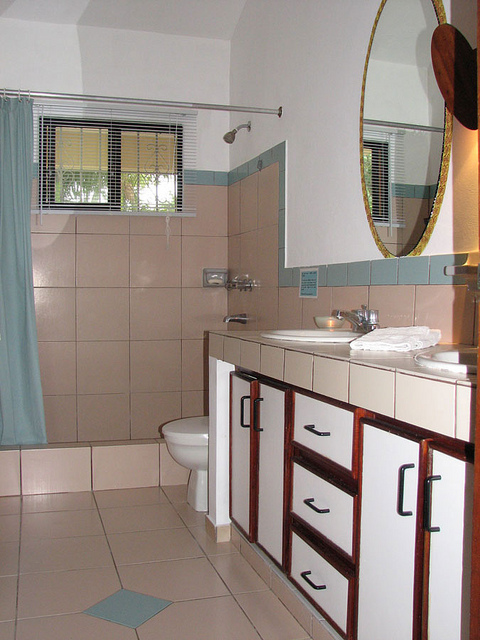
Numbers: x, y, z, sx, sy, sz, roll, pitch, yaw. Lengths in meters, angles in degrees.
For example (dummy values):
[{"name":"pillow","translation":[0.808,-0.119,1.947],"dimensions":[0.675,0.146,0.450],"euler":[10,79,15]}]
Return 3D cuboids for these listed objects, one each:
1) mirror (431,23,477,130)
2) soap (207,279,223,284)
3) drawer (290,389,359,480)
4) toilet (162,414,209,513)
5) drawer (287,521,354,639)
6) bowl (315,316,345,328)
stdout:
[{"name":"mirror","translation":[0.569,-0.639,1.415],"dimensions":[0.037,0.320,0.160],"euler":[0,-1,-19]},{"name":"soap","translation":[-0.166,-0.257,3.570],"dimensions":[0.101,0.030,0.020],"euler":[0,-1,-19]},{"name":"drawer","translation":[0.247,0.265,1.337],"dimensions":[0.156,0.167,0.267],"euler":[0,4,-31]},{"name":"toilet","translation":[-0.242,0.732,2.741],"dimensions":[0.272,0.416,0.303],"euler":[-14,-3,-41]},{"name":"drawer","translation":[0.200,0.634,1.309],"dimensions":[0.125,0.189,0.232],"euler":[1,4,-14]},{"name":"bowl","translation":[0.314,0.007,1.863],"dimensions":[0.097,0.039,0.040],"euler":[0,-1,13]}]
